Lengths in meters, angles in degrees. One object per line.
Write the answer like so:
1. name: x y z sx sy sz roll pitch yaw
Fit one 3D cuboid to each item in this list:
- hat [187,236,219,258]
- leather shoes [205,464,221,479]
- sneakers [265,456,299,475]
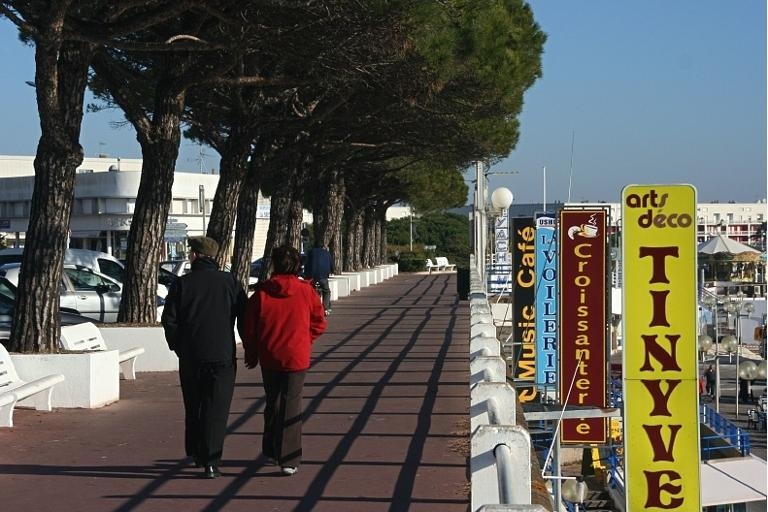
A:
1. hat: -2.827 -0.149 20.664 0.318 0.161 0.415 4 8 -37
2. leather shoes: -2.673 3.357 20.437 0.118 0.211 0.321 3 4 26
3. sneakers: -1.662 3.312 20.706 0.619 0.254 0.209 7 1 28
